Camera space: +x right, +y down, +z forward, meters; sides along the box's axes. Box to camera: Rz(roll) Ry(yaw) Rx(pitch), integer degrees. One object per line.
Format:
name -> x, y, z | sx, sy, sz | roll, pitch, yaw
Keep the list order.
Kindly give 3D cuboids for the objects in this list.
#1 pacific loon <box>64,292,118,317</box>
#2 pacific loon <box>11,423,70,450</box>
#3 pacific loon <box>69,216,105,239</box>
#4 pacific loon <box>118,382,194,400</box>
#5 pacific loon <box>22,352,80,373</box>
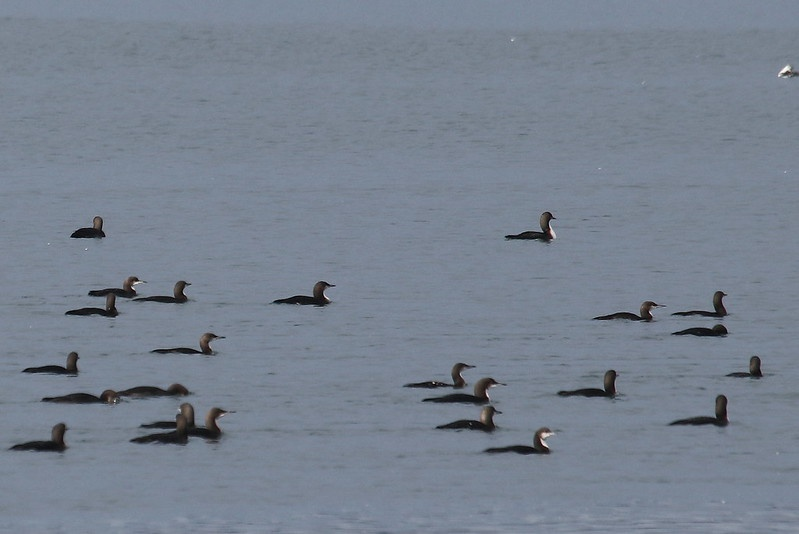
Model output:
pacific loon -> -6.124, 0.863, 28.717 | 0.966, 0.324, 0.528 | -10, 72, -3
pacific loon -> -6.034, 2.920, 24.181 | 0.904, 0.682, 0.486 | -2, 73, 0
pacific loon -> -6.929, -0.870, 32.229 | 0.855, 0.450, 0.419 | 0, 92, -19
pacific loon -> -4.169, 2.249, 25.751 | 1.724, 0.339, 0.346 | 2, 86, -9
pacific loon -> -6.362, 1.761, 26.343 | 0.794, 0.494, 0.229 | -1, 89, -6
